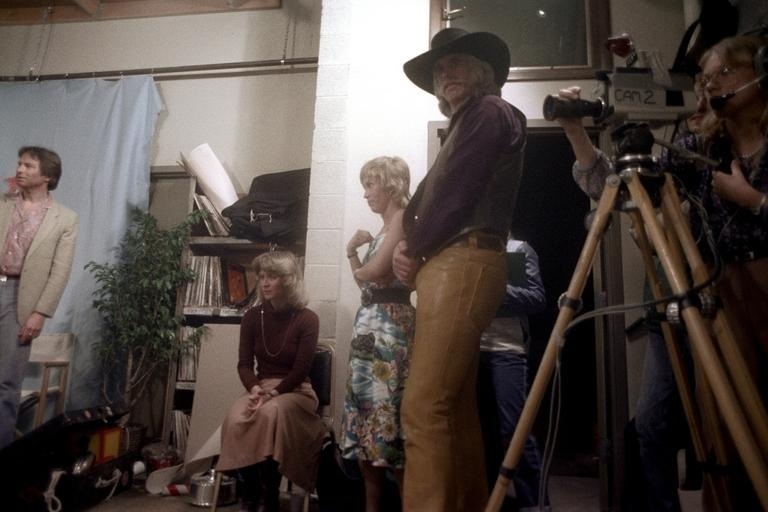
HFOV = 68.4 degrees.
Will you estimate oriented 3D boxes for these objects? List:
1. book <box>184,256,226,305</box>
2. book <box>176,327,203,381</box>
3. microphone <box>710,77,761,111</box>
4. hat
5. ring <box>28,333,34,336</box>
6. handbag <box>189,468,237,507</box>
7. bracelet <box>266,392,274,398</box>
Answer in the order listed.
[{"bbox_3d":[-1.400,0.193,4.462,0.272,0.387,0.129,1,-1,-10],"label":"book"},{"bbox_3d":[-1.517,0.781,4.396,0.277,0.427,0.105,3,-1,-21],"label":"book"},{"bbox_3d":[1.602,-0.697,2.560,0.205,0.058,0.129,-24,5,43],"label":"microphone"},{"bbox_3d":[0.459,-1.087,3.100,0.636,0.258,0.581,5,5,10],"label":"hat"},{"bbox_3d":[-2.619,0.578,4.180,0.025,0.022,0.002,5,-7,-38],"label":"ring"},{"bbox_3d":[-1.115,1.494,3.668,0.220,0.253,0.228,2,-3,-6],"label":"handbag"},{"bbox_3d":[-0.676,0.831,3.390,0.031,0.024,0.033,-1,-9,0],"label":"bracelet"}]
